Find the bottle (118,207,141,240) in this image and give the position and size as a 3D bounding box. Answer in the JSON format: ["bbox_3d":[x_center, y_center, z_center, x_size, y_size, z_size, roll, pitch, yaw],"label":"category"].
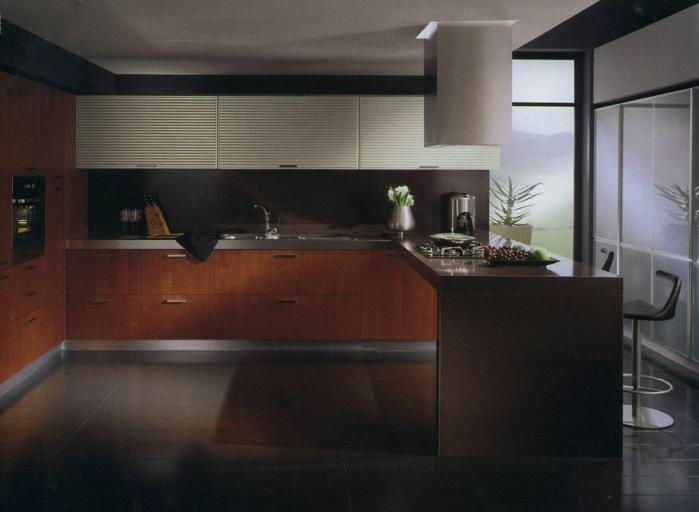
[{"bbox_3d":[-2.243,-0.343,5.846,0.226,0.294,0.618,-4,12,-21],"label":"bottle"}]

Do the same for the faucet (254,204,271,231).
[{"bbox_3d":[-0.887,-0.412,6.067,0.144,0.286,0.245,-8,14,-34],"label":"faucet"}]

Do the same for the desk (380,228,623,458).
[{"bbox_3d":[1.247,0.746,4.890,1.160,1.123,2.662,1,-3,6],"label":"desk"}]

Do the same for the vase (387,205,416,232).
[{"bbox_3d":[0.547,-0.387,5.819,0.277,0.222,0.262,0,-1,0],"label":"vase"}]

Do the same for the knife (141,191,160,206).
[{"bbox_3d":[-2.057,-0.600,5.880,0.150,0.093,0.146,3,6,20],"label":"knife"}]

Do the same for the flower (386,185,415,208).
[{"bbox_3d":[0.504,-0.604,5.925,0.262,0.245,0.258,1,-5,-23],"label":"flower"}]
